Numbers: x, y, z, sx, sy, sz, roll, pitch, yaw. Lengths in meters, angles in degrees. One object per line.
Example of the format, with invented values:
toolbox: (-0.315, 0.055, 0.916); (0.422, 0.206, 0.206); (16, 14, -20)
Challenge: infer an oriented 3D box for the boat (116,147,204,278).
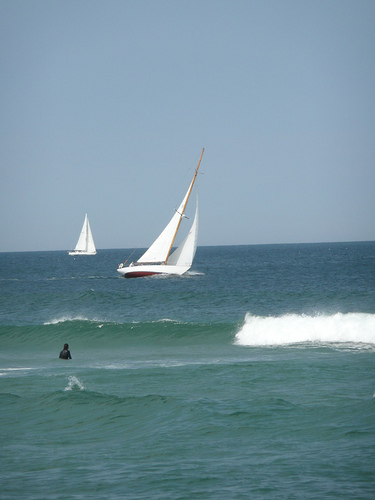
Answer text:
boat: (-2.772, -3.262, 67.943); (10.051, 12.527, 2.643); (1, 1, 24)

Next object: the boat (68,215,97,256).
boat: (-26.001, -3.197, 169.457); (7.822, 9.348, 1.997); (2, 6, -22)
